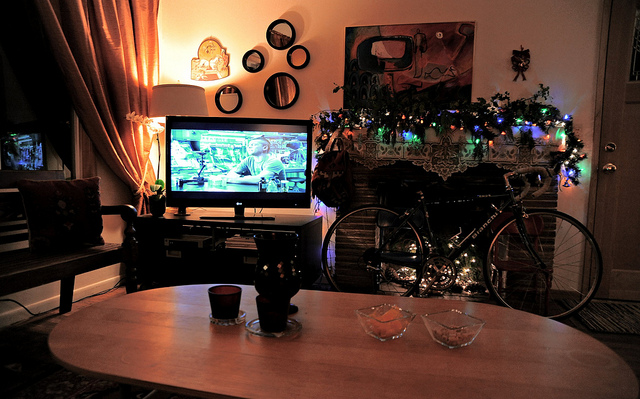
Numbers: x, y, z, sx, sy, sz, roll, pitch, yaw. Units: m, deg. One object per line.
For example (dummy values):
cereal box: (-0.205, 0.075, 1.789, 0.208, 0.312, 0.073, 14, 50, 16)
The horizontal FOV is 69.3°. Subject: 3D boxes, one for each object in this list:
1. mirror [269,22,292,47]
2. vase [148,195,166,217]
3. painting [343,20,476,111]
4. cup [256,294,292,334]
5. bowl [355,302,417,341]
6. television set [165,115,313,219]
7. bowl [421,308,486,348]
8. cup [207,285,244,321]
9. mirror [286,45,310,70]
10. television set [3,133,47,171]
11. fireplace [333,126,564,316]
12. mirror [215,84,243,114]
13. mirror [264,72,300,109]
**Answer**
mirror: (-0.403, -1.741, 4.824, 0.284, 0.257, 0.028, 4, 7, 3)
vase: (-1.508, 0.059, 4.293, 0.134, 0.198, 0.074, -4, 11, -19)
painting: (0.951, -1.358, 4.603, 1.138, 0.705, 0.020, 1, 4, 11)
cup: (-0.285, 0.687, 2.772, 0.244, 0.169, 0.207, 1, -3, -11)
bowl: (0.398, 0.703, 2.732, 0.243, 0.088, 0.225, 0, 4, 0)
television set: (-0.775, -0.306, 4.394, 1.442, 0.908, 0.180, -1, 5, -19)
bowl: (0.778, 0.758, 2.701, 0.225, 0.100, 0.252, -3, 9, -23)
cup: (-0.563, 0.623, 2.794, 0.217, 0.147, 0.193, 2, 2, -1)
mirror: (-0.223, -1.495, 4.825, 0.244, 0.229, 0.058, 26, 12, 4)
television set: (-2.520, -0.408, 3.922, 0.041, 0.354, 0.360, 2, 3, 26)
fireplace: (1.098, 0.193, 4.699, 2.332, 1.728, 0.840, 2, 6, -10)
mirror: (-0.967, -1.088, 4.968, 0.339, 0.308, 0.034, 3, 7, 9)
mirror: (-0.407, -1.151, 4.892, 0.435, 0.396, 0.047, -17, 23, -31)
